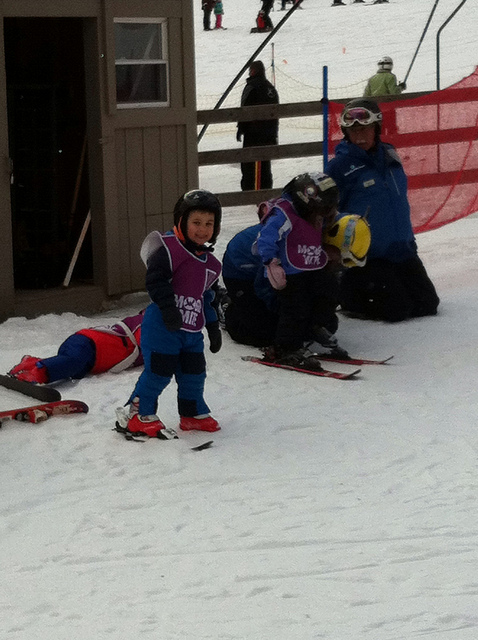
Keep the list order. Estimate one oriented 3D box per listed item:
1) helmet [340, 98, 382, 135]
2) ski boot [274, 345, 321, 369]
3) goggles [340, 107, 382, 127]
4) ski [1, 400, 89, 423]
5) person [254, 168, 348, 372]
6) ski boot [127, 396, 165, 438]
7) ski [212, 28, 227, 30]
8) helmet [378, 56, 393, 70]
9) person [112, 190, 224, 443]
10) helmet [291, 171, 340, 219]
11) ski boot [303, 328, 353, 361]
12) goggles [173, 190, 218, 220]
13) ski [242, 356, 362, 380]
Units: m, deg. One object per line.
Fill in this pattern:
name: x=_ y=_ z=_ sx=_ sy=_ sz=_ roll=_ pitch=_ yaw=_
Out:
helmet: x=0.770 y=-1.285 z=4.922 sx=0.217 sy=0.161 sz=0.223 roll=5 pitch=-23 yaw=16
ski boot: x=0.365 y=0.198 z=4.388 sx=0.318 sy=0.115 sz=0.097 roll=4 pitch=18 yaw=20
goggles: x=0.764 y=-1.263 z=4.886 sx=0.244 sy=0.109 sz=0.130 roll=3 pitch=15 yaw=5
ski: x=-0.876 y=0.406 z=3.588 sx=0.490 sy=0.093 sz=0.078 roll=-3 pitch=5 yaw=-31
person: x=0.356 y=-0.308 z=4.525 sx=0.588 sy=1.090 sz=0.863 roll=4 pitch=16 yaw=7
ski boot: x=-0.384 y=0.405 z=3.344 sx=0.223 sy=0.174 sz=0.085 roll=2 pitch=-3 yaw=36
ski: x=-0.625 y=-9.763 z=26.346 sx=0.423 sy=0.070 sz=0.262 roll=0 pitch=14 yaw=-5
helmet: x=1.811 y=-3.146 z=9.632 sx=0.154 sy=0.152 sz=0.381 roll=3 pitch=14 yaw=6
person: x=-0.277 y=-0.018 z=3.292 sx=0.339 sy=1.040 sz=0.423 roll=15 pitch=22 yaw=37
helmet: x=0.396 y=-0.668 z=4.216 sx=0.288 sy=0.233 sz=0.229 roll=-12 pitch=11 yaw=-20
ski boot: x=0.495 y=0.132 z=4.651 sx=0.407 sy=0.162 sz=0.117 roll=12 pitch=29 yaw=27
goggles: x=-0.178 y=-0.474 z=3.235 sx=0.176 sy=0.122 sz=0.191 roll=0 pitch=15 yaw=-5
ski: x=0.347 y=0.261 z=4.317 sx=0.676 sy=0.044 sz=0.068 roll=4 pitch=24 yaw=25
